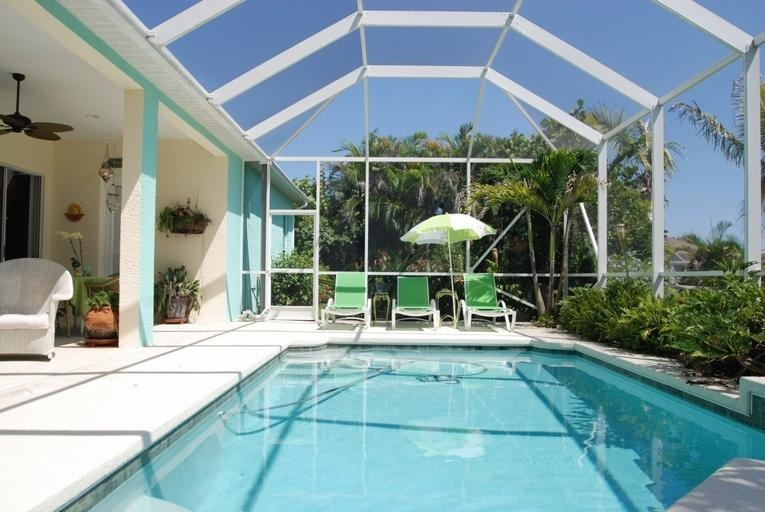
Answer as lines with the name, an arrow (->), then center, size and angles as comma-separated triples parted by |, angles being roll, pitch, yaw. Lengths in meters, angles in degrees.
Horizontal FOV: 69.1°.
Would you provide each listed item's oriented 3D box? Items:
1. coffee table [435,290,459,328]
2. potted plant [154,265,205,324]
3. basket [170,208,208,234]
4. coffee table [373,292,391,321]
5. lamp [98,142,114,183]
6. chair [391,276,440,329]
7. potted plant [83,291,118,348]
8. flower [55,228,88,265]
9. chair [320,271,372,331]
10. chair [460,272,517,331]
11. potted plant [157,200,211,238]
coffee table -> 1.338, 1.062, 11.462 | 0.619, 0.892, 0.638 | -1, -10, 3
potted plant -> -3.982, 0.759, 10.836 | 1.067, 1.027, 0.973 | 3, 14, -40
basket -> -3.762, -0.618, 11.016 | 0.560, 0.404, 0.506 | 1, -1, -1
coffee table -> -0.027, 1.101, 11.767 | 0.483, 0.704, 0.499 | 0, -12, -2
lamp -> -5.319, -1.759, 10.683 | 0.230, 0.755, 1.117 | -6, 13, -26
chair -> 0.668, 1.006, 11.322 | 0.829, 0.868, 1.278 | -1, -16, 9
potted plant -> -4.194, 0.943, 8.354 | 0.506, 0.757, 0.541 | 2, -1, -32
flower -> -6.045, -0.194, 10.748 | 0.608, 0.803, 0.319 | 3, -8, -32
chair -> -0.642, 0.878, 10.722 | 0.940, 1.102, 1.305 | 1, -1, -3
chair -> 1.911, 0.904, 10.527 | 0.789, 1.009, 1.398 | -1, 6, 1
potted plant -> -4.039, -0.688, 11.119 | 1.085, 0.785, 0.933 | -8, -6, -27
